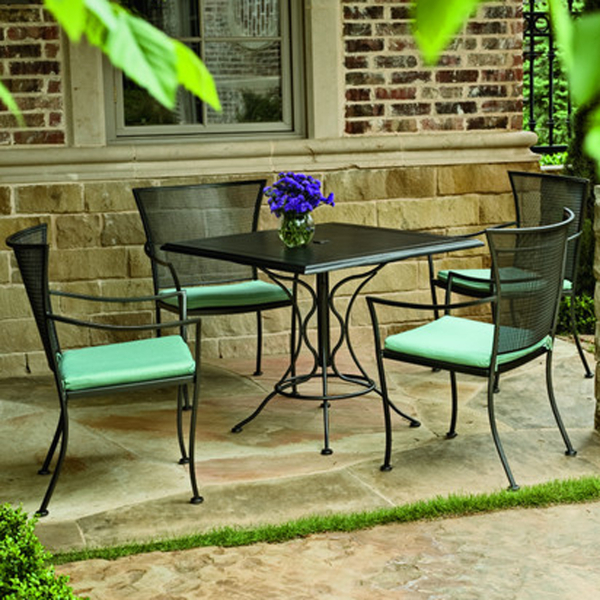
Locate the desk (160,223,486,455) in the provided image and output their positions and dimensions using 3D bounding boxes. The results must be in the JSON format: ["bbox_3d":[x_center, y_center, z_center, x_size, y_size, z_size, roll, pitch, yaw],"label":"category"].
[{"bbox_3d":[0.116,0.182,3.805,1.605,0.800,1.363,-9,5,-12],"label":"desk"}]

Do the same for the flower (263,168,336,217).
[{"bbox_3d":[-0.001,-0.506,3.641,0.349,0.181,0.229,0,1,-5],"label":"flower"}]

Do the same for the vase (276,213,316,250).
[{"bbox_3d":[-0.013,-0.323,3.573,0.184,0.158,0.170,0,0,-1],"label":"vase"}]
